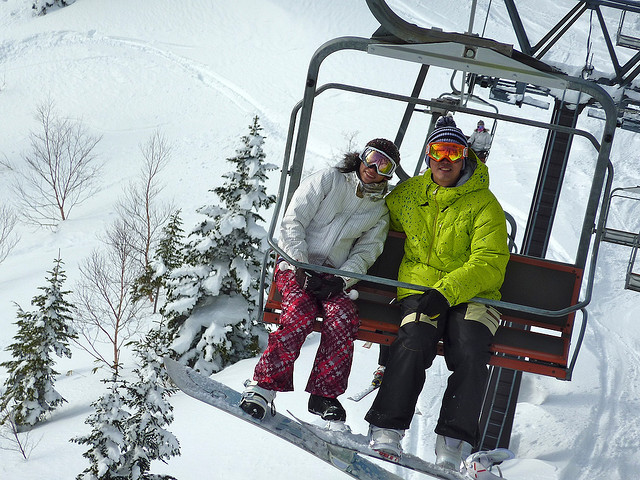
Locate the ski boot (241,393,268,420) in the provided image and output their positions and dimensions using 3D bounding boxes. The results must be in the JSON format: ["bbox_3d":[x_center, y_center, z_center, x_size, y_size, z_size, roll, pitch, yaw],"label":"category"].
[{"bbox_3d":[-0.522,1.360,4.903,0.157,0.183,0.202,34,-9,-33],"label":"ski boot"}]

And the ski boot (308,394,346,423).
[{"bbox_3d":[0.050,1.367,4.998,0.184,0.227,0.363,14,-9,-39],"label":"ski boot"}]

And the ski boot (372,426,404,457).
[{"bbox_3d":[0.531,1.570,4.747,0.124,0.254,0.350,14,-1,-15],"label":"ski boot"}]

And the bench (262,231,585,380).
[{"bbox_3d":[1.659,0.927,7.210,3.919,1.264,1.327,2,-10,3],"label":"bench"}]

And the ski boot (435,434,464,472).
[{"bbox_3d":[1.023,1.700,4.800,0.213,0.304,0.170,14,-21,-19],"label":"ski boot"}]

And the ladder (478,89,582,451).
[{"bbox_3d":[3.615,0.745,10.413,1.670,9.235,0.801,4,3,15],"label":"ladder"}]

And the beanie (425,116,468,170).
[{"bbox_3d":[1.114,-0.959,5.460,0.349,0.448,0.503,4,-22,3],"label":"beanie"}]
